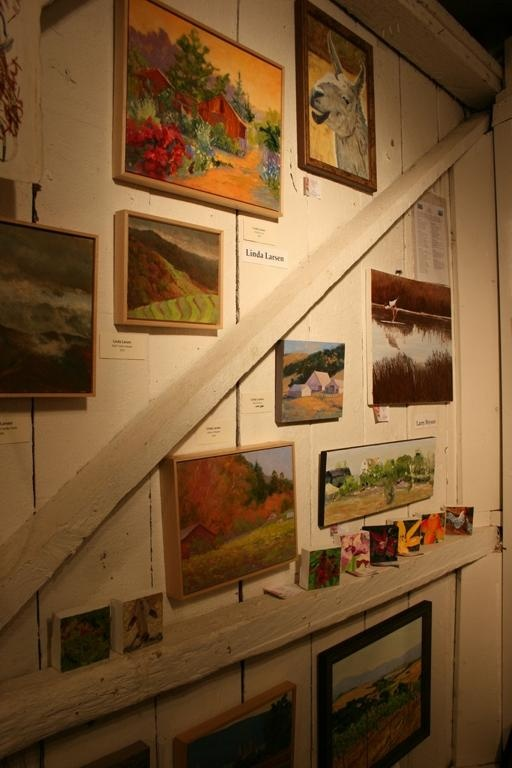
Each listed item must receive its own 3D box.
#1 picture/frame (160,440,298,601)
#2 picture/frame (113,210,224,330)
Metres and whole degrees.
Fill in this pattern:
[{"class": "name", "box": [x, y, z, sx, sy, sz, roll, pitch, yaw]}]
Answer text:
[{"class": "picture/frame", "box": [-0.097, 0.402, 1.741, 0.066, 0.470, 0.508, -5, -2, 43]}, {"class": "picture/frame", "box": [-0.251, -0.310, 1.565, 0.333, 0.308, 0.034, -1, -1, -43]}]
